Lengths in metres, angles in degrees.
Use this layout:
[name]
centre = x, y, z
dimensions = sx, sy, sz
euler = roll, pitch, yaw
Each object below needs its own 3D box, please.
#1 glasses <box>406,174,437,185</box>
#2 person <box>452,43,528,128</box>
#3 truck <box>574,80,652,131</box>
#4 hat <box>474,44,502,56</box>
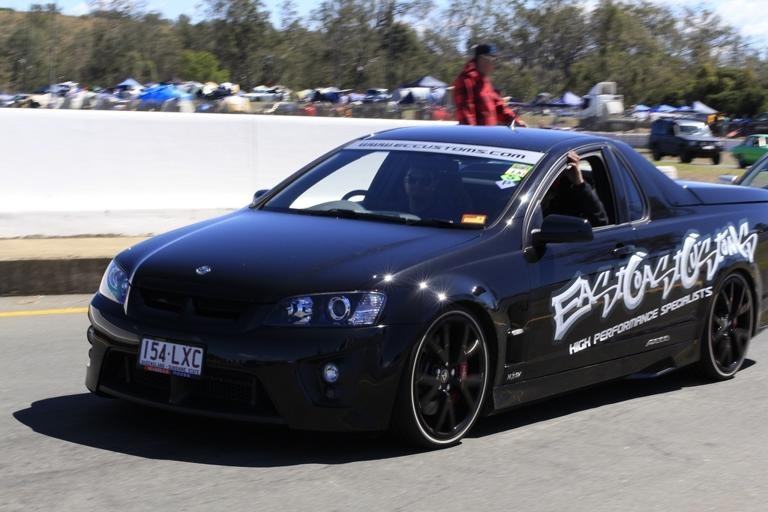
[glasses]
centre = 0.265, -0.544, 5.112
dimensions = 0.123, 0.045, 0.138
euler = 1, 1, 31
[person]
centre = 1.332, -2.268, 9.477
dimensions = 0.758, 1.078, 0.573
euler = 1, 9, -11
[truck]
centre = 13.555, -9.097, 44.323
dimensions = 2.957, 2.277, 4.643
euler = -8, 13, -42
[hat]
centre = 1.336, -2.716, 9.437
dimensions = 0.292, 0.180, 0.396
euler = 3, 7, 5
